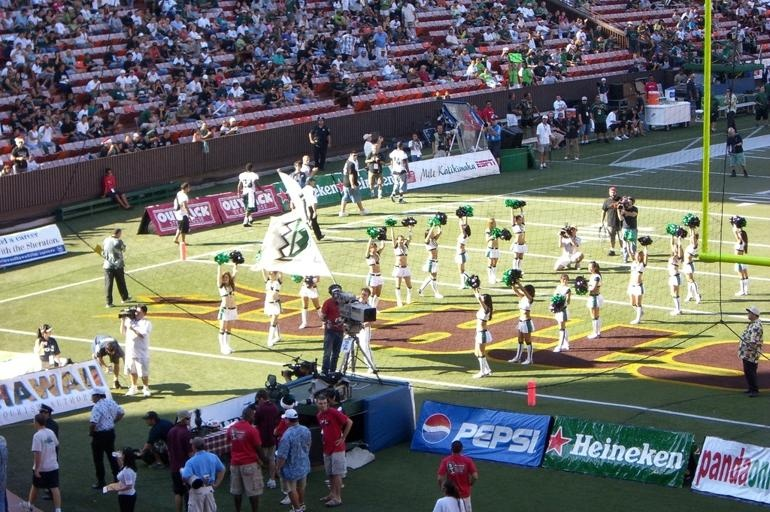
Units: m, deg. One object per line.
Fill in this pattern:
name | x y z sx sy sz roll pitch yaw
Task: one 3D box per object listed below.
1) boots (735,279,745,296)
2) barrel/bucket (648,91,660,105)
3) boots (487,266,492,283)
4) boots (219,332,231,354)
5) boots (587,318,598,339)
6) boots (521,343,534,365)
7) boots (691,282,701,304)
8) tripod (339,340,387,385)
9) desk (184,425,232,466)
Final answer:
boots | 11.744 0.953 41.617 0.388 0.508 0.539 -4 7 15
barrel/bucket | 13.838 -8.015 64.950 0.769 0.619 0.664 0 1 -1
boots | 3.721 0.595 43.484 0.224 0.544 0.439 -6 7 5
boots | -4.772 2.543 38.721 0.344 0.689 0.491 -7 7 -8
boots | 6.480 2.126 39.238 0.348 0.617 0.776 -6 7 -1
boots | 4.291 2.775 37.675 0.310 0.609 0.574 -6 7 6
boots | 10.244 1.134 41.348 0.248 0.670 0.390 -5 7 13
tripod | -0.792 2.905 36.292 1.479 1.566 1.263 -4 -5 29
desk | -4.223 4.715 32.499 0.538 0.783 2.548 1 -1 12
